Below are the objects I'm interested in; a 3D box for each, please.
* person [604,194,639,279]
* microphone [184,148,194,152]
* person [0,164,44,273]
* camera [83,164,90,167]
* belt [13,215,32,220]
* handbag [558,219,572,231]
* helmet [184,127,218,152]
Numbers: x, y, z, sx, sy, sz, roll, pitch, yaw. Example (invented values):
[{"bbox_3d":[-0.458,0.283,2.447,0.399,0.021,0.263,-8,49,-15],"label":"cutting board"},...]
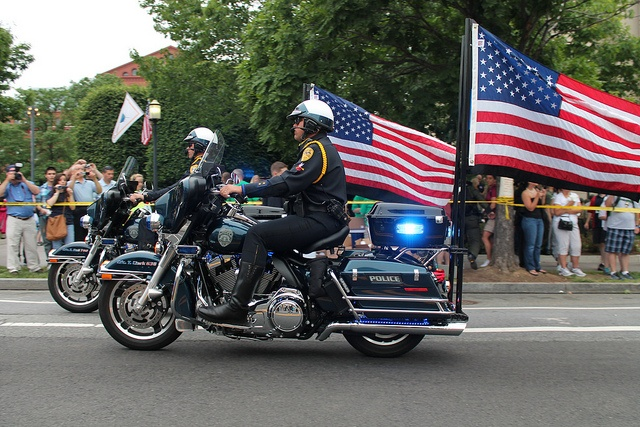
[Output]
[{"bbox_3d":[6.350,0.509,14.975,0.671,1.736,0.895,2,-4,21],"label":"person"},{"bbox_3d":[-1.825,-0.903,9.866,0.099,0.022,0.074,4,-10,-14],"label":"microphone"},{"bbox_3d":[-6.051,0.093,14.313,0.930,2.187,0.399,5,-5,-25],"label":"person"},{"bbox_3d":[-4.911,-1.014,14.841,0.135,0.083,0.190,-1,0,-16],"label":"camera"},{"bbox_3d":[-5.983,0.082,14.205,0.317,0.062,0.051,3,-3,-36],"label":"belt"},{"bbox_3d":[5.324,0.249,15.422,0.393,0.207,0.134,5,-8,8],"label":"handbag"},{"bbox_3d":[-1.666,-1.052,9.872,0.594,0.261,0.355,-1,0,1],"label":"helmet"}]
